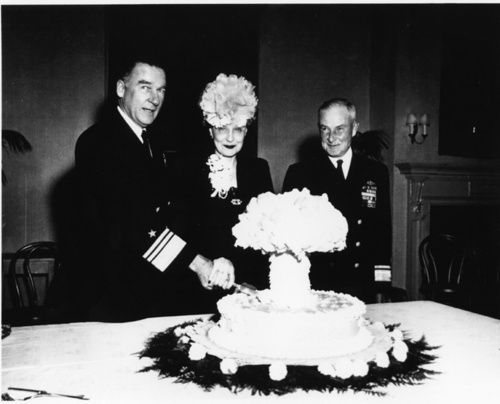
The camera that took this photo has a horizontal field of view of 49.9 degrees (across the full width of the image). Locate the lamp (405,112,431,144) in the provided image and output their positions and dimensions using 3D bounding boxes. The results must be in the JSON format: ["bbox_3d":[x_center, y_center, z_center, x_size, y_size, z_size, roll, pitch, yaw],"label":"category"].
[{"bbox_3d":[1.905,-0.825,6.066,0.342,0.346,0.148,-1,9,-12],"label":"lamp"}]

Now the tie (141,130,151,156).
[{"bbox_3d":[-0.812,-0.473,4.269,0.104,0.186,0.041,-4,14,33],"label":"tie"}]

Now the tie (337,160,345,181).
[{"bbox_3d":[0.860,-0.304,5.118,0.058,0.217,0.011,-3,5,-2],"label":"tie"}]

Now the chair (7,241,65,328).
[{"bbox_3d":[-1.701,0.662,4.294,0.468,0.706,0.565,2,-4,-19],"label":"chair"}]

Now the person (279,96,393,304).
[{"bbox_3d":[0.870,-0.048,5.153,1.012,1.849,0.837,3,9,9],"label":"person"}]
